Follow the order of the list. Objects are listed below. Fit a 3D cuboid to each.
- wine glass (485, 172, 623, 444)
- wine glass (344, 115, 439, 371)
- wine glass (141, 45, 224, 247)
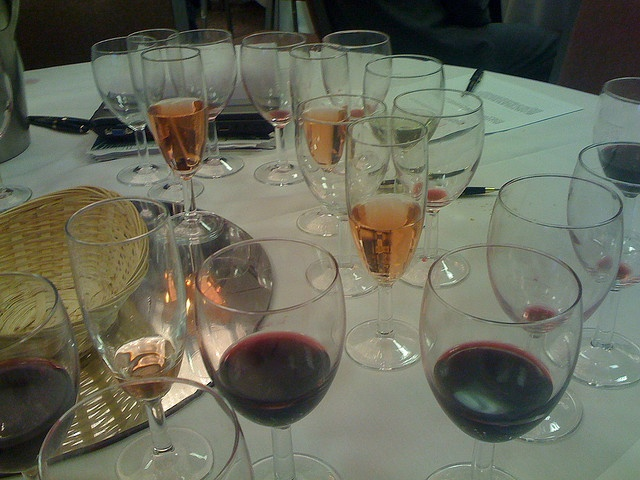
[{"bbox_3d":[0.282,0.096,0.660,0.153,0.158,0.323,8,69,23],"label":"wine glass"},{"bbox_3d":[0.092,0.018,0.737,0.109,0.313,0.105,6,24,19],"label":"wine glass"},{"bbox_3d":[-0.259,-0.172,0.984,0.132,0.355,0.129,-20,34,-34],"label":"wine glass"}]
